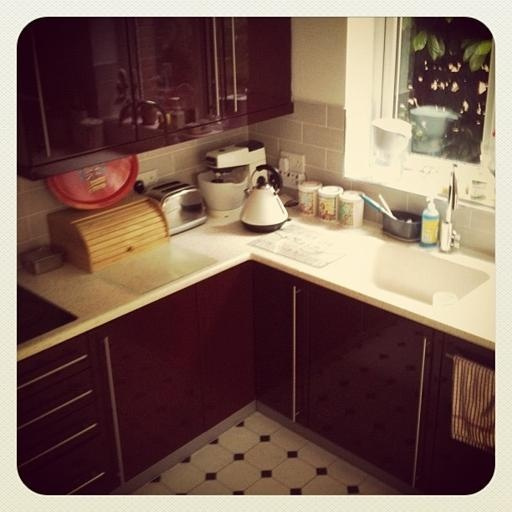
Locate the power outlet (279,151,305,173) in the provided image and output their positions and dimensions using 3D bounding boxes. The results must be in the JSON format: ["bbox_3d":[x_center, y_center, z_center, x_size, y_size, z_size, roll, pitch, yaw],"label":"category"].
[{"bbox_3d":[0.166,-0.434,2.134,0.107,0.078,0.032,23,33,39],"label":"power outlet"}]

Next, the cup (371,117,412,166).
[{"bbox_3d":[0.561,-0.514,2.057,0.194,0.176,0.164,18,42,28],"label":"cup"}]

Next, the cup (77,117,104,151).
[{"bbox_3d":[-0.514,-0.383,1.442,0.058,0.095,0.058,1,37,-1],"label":"cup"}]

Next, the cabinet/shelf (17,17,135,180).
[{"bbox_3d":[-0.549,-0.557,1.488,0.373,0.383,0.142,13,43,32],"label":"cabinet/shelf"}]

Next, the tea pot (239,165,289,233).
[{"bbox_3d":[0.048,-0.257,1.890,0.212,0.299,0.268,4,20,14],"label":"tea pot"}]

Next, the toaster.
[{"bbox_3d":[-0.324,-0.224,1.942,0.190,0.202,0.287,32,47,30],"label":"toaster"}]

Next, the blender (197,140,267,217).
[{"bbox_3d":[-0.087,-0.366,2.128,0.324,0.263,0.189,-19,32,-28],"label":"blender"}]
